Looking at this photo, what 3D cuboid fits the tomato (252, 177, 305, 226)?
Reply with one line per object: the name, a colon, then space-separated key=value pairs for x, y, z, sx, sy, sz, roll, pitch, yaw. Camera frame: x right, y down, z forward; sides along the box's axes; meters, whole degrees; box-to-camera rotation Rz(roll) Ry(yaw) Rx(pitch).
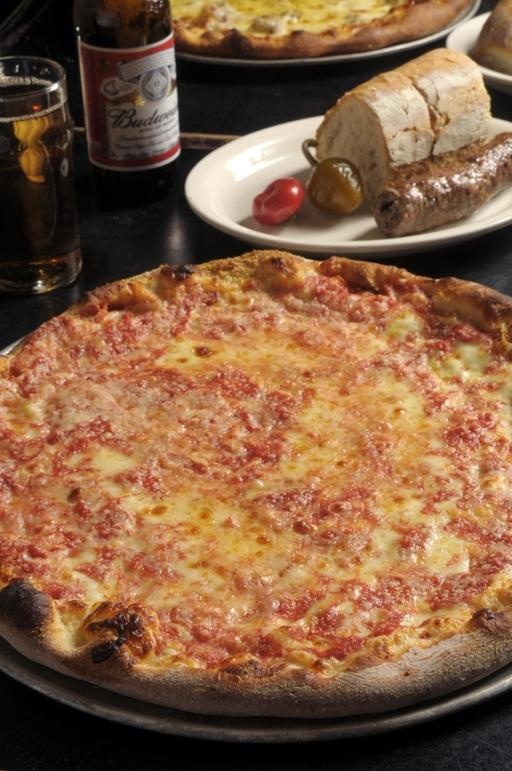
tomato: x=0.037 y=-0.332 z=1.394 sx=0.097 sy=0.054 sz=0.087 roll=-2 pitch=4 yaw=33
